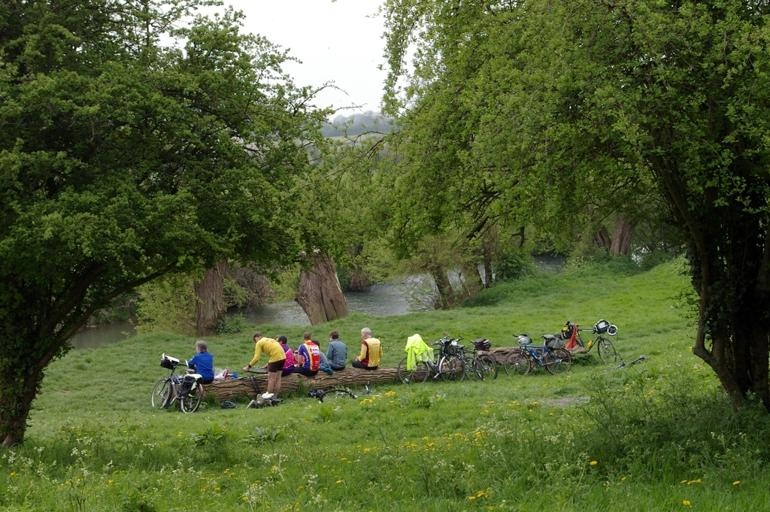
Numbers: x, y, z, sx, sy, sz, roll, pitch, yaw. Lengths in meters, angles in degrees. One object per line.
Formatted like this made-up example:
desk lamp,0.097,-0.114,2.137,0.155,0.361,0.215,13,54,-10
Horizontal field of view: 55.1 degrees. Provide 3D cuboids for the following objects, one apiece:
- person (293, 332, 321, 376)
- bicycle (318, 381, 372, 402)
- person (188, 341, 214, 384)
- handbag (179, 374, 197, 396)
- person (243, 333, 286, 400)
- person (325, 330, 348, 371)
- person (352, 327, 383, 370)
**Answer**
person,-2.298,2.916,22.081,0.710,1.289,0.534,-5,4,6
bicycle,-1.191,3.944,21.778,1.496,0.233,1.434,-6,3,0
person,-5.302,3.041,21.217,0.678,0.882,0.780,-7,4,-16
handbag,-5.563,3.614,20.811,0.371,0.613,0.151,-1,-10,37
person,-3.384,3.131,21.144,1.169,1.254,0.998,-7,4,-16
person,-1.512,2.839,22.506,0.611,1.199,0.626,-6,4,-6
person,-0.563,2.829,22.932,0.904,1.238,0.921,-1,1,-1
